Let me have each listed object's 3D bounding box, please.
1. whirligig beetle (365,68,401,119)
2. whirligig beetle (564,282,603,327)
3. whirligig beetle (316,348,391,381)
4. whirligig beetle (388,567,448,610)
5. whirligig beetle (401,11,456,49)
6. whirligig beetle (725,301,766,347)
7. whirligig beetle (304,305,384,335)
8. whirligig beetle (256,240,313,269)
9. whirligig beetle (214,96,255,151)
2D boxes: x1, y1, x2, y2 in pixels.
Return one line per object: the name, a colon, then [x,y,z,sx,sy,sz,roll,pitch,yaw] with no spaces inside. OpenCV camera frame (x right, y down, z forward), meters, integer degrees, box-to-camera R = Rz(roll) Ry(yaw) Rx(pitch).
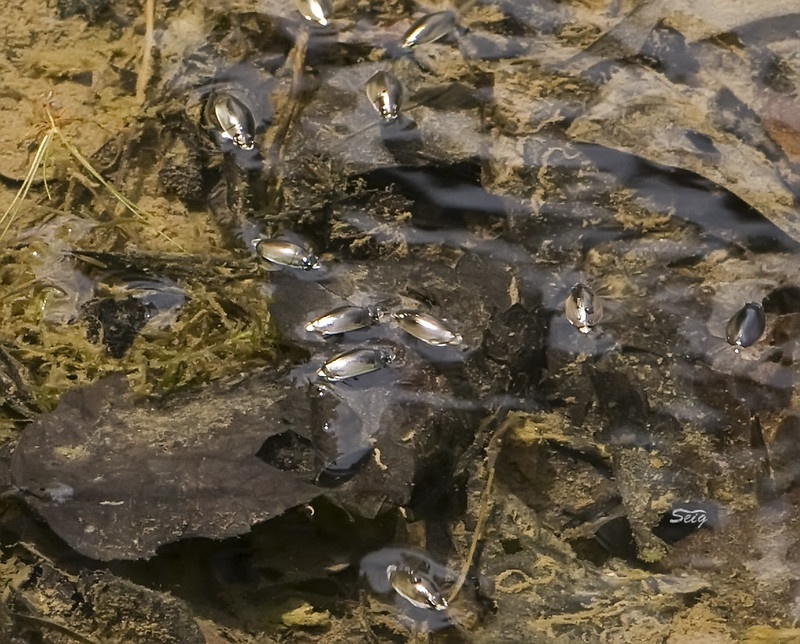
whirligig beetle: [-0.071,-0.918,4.560,0.173,0.204,0.065,30,90,12]
whirligig beetle: [0.720,-0.065,4.373,0.148,0.053,0.154,2,74,2]
whirligig beetle: [-0.150,0.156,4.264,0.290,0.092,0.107,-22,60,-27]
whirligig beetle: [0.062,1.002,4.239,0.270,0.094,0.067,17,38,-1]
whirligig beetle: [0.138,-1.209,4.671,0.262,0.119,0.102,-29,65,-30]
whirligig beetle: [1.352,0.010,4.411,0.140,0.128,0.159,-4,53,-16]
whirligig beetle: [-0.200,-0.005,4.315,0.293,0.102,0.084,-11,57,-20]
whirligig beetle: [-0.443,-0.257,4.412,0.228,0.063,0.093,14,51,9]
whirligig beetle: [-0.670,-0.808,4.601,0.217,0.069,0.188,-11,80,2]
